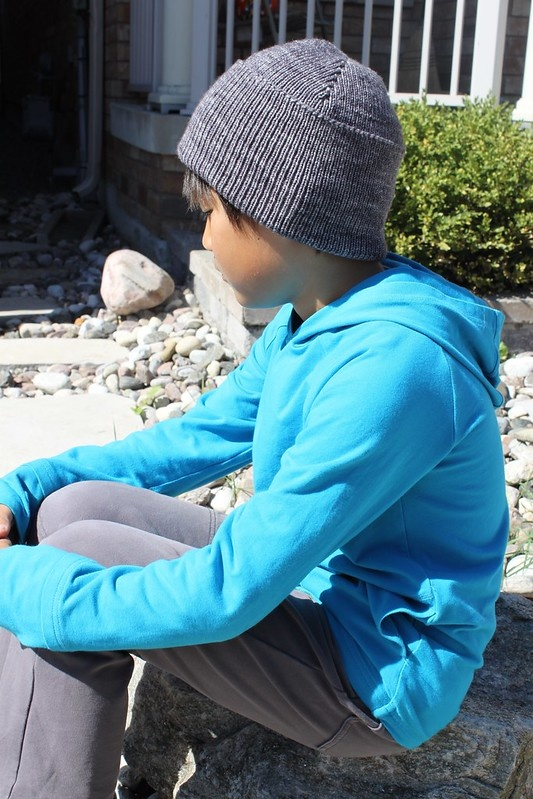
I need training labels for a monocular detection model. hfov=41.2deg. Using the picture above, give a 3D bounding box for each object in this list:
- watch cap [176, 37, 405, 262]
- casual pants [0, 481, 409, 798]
[{"bbox_3d":[0.028,-0.387,1.058,0.363,0.265,0.267,17,18,13],"label":"watch cap"},{"bbox_3d":[0.009,0.388,1.161,0.775,0.352,0.294,9,-8,-29],"label":"casual pants"}]
